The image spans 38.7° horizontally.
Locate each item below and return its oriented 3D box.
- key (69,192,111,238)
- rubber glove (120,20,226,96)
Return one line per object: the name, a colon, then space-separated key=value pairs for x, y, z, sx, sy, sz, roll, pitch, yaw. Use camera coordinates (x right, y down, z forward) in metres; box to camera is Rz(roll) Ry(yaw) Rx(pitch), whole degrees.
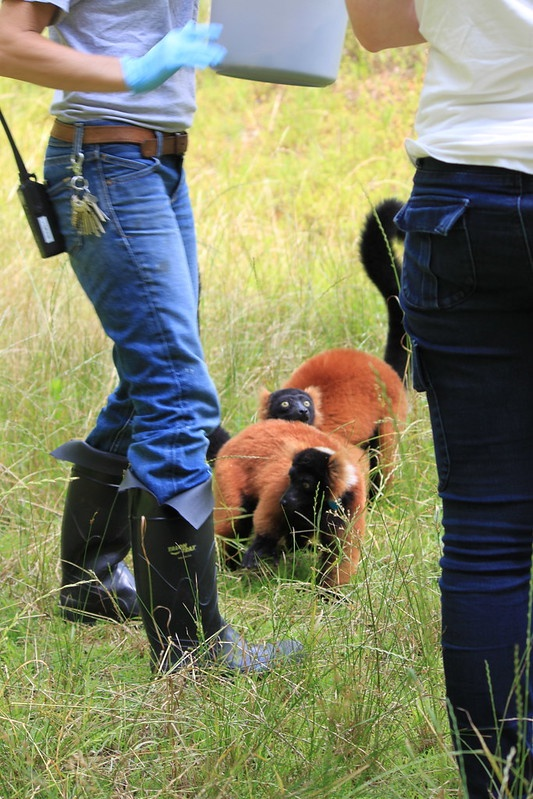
key: x=-0.405 y=-0.427 z=1.749 sx=0.113 sy=0.110 sz=0.060 roll=2 pitch=21 yaw=40
rubber glove: x=-0.179 y=-0.715 z=1.637 sx=0.237 sy=0.060 sz=0.130 roll=-25 pitch=58 yaw=-16
